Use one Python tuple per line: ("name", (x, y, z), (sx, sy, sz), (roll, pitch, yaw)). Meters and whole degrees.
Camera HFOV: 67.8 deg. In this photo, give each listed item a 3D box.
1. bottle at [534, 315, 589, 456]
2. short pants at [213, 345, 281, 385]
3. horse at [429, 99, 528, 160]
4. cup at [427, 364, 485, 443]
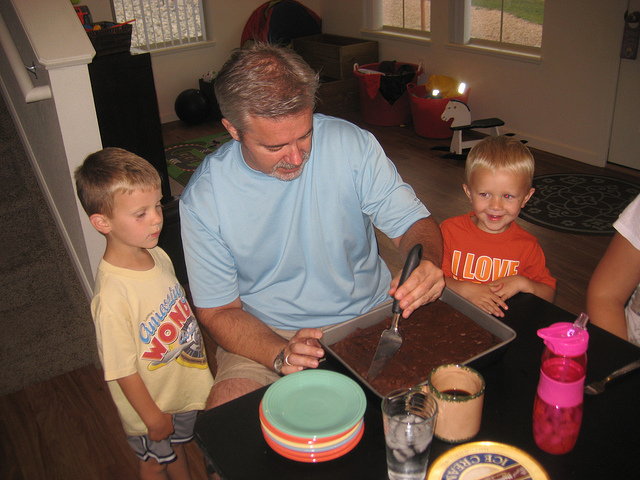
("bottle", (0.551, 0.311, 1.085), (0.114, 0.302, 0.194), (12, 31, 31))
("short pants", (-0.277, 0.442, 1.677), (0.183, 0.069, 0.144), (18, 34, 20))
("horse", (1.477, -1.151, 4.868), (0.695, 0.505, 0.575), (1, 27, 12))
("cup", (0.316, 0.376, 1.165), (0.155, 0.148, 0.168), (-1, 31, 1))
